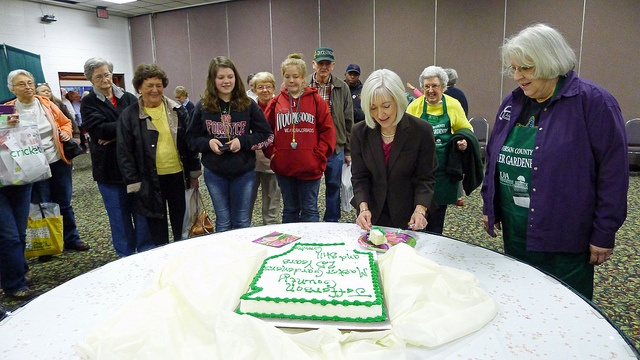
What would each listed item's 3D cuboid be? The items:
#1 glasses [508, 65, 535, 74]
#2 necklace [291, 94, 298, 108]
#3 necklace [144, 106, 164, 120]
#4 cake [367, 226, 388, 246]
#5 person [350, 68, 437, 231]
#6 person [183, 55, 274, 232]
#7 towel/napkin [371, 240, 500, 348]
[{"bbox_3d":[1.379,-0.749,2.440,0.097,0.030,0.095,2,-1,-32],"label":"glasses"},{"bbox_3d":[-0.270,-0.827,3.795,0.091,0.109,0.041,0,-7,5],"label":"necklace"},{"bbox_3d":[-1.650,-0.660,3.602,0.175,0.139,0.074,-7,18,-22],"label":"necklace"},{"bbox_3d":[0.395,0.392,2.476,0.095,0.109,0.166,-2,10,-18],"label":"cake"},{"bbox_3d":[0.574,-0.198,2.702,0.681,1.212,0.474,1,17,5],"label":"person"},{"bbox_3d":[-0.890,-0.301,3.625,0.811,1.778,0.385,-6,18,-18],"label":"person"},{"bbox_3d":[0.579,0.579,1.991,0.429,0.156,0.512,-19,23,-13],"label":"towel/napkin"}]
